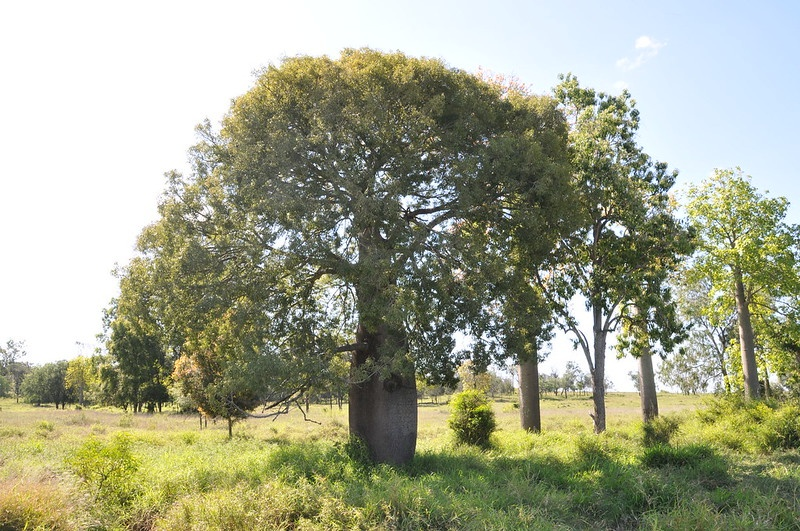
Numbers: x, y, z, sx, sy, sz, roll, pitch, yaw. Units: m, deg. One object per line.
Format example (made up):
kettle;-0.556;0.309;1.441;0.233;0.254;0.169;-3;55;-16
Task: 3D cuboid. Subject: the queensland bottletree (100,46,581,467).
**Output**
queensland bottletree;-0.338;1.806;35.829;18.678;23.005;18.128;1;-13;18
